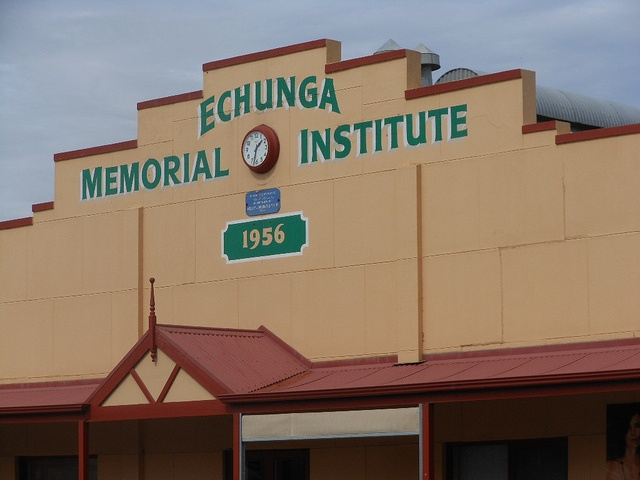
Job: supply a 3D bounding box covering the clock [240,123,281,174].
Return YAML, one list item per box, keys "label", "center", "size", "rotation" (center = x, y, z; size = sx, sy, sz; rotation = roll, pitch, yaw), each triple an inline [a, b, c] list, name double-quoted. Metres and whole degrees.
- label: "clock"
  center: [-1.727, -2.465, 48.826]
  size: [1.211, 1.284, 0.339]
  rotation: [0, -2, 41]
